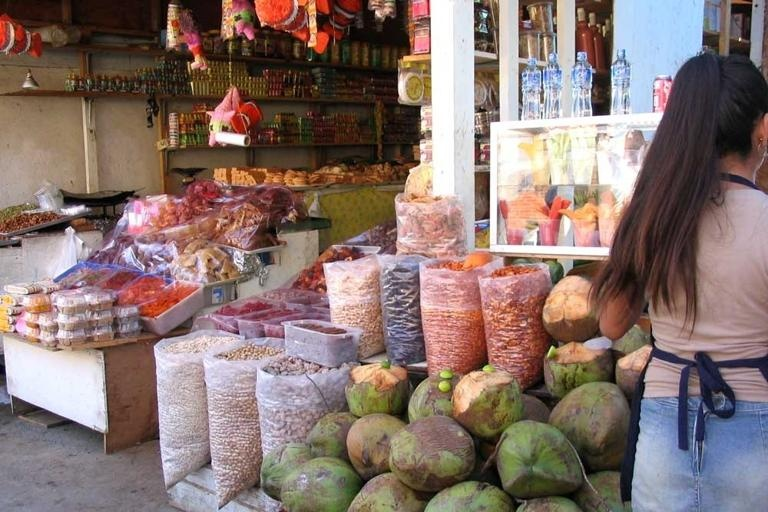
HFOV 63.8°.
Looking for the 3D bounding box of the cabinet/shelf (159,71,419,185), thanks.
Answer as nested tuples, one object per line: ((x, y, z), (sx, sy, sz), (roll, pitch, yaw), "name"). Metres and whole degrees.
((-0.745, -1.735, 8.310), (2.053, 1.373, 3.862), (10, 18, 38), "cabinet/shelf")

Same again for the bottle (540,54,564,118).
((0.843, -0.850, 3.078), (0.086, 0.314, 0.294), (2, 14, 14), "bottle")

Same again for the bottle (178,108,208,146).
((-2.262, -1.521, 7.392), (0.423, 0.549, 0.405), (0, 5, 0), "bottle")

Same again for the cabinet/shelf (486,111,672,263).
((0.846, -0.366, 3.224), (0.879, 0.687, 0.478), (-5, 19, -16), "cabinet/shelf")

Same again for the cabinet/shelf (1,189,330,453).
((-1.527, 0.474, 4.621), (1.817, 1.064, 1.684), (-16, 20, -43), "cabinet/shelf")
